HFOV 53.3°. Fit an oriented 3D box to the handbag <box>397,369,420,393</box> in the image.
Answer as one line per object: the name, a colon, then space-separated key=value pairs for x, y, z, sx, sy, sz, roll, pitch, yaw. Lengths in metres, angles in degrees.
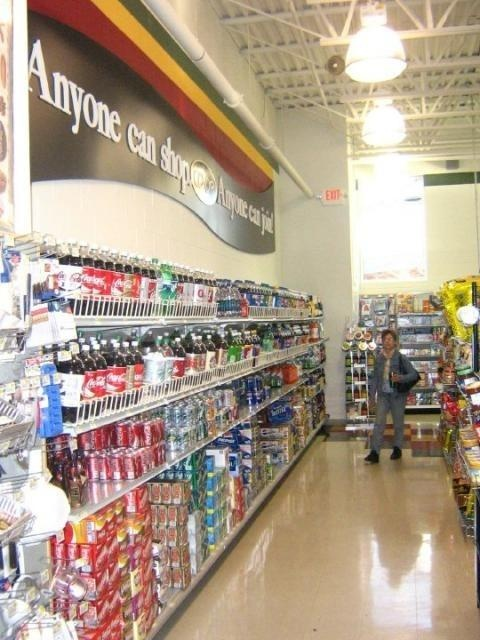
handbag: x=2.455 y=0.871 z=6.820 sx=0.260 sy=0.327 sz=0.653 roll=-4 pitch=-4 yaw=29

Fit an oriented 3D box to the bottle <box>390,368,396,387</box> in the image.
bottle: x=2.139 y=0.815 z=6.616 sx=0.091 sy=0.241 sz=0.120 roll=-2 pitch=-4 yaw=12

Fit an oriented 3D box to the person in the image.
person: x=2.146 y=1.074 z=6.787 sx=0.748 sy=1.866 sz=0.535 roll=-2 pitch=-4 yaw=14

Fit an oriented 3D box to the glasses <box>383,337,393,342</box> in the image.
glasses: x=2.068 y=0.268 z=6.622 sx=0.125 sy=0.089 sz=0.081 roll=-3 pitch=-4 yaw=18

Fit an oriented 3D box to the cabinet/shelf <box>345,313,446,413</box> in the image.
cabinet/shelf: x=2.872 y=0.802 z=8.848 sx=2.153 sy=2.049 sz=0.724 roll=0 pitch=1 yaw=-8
